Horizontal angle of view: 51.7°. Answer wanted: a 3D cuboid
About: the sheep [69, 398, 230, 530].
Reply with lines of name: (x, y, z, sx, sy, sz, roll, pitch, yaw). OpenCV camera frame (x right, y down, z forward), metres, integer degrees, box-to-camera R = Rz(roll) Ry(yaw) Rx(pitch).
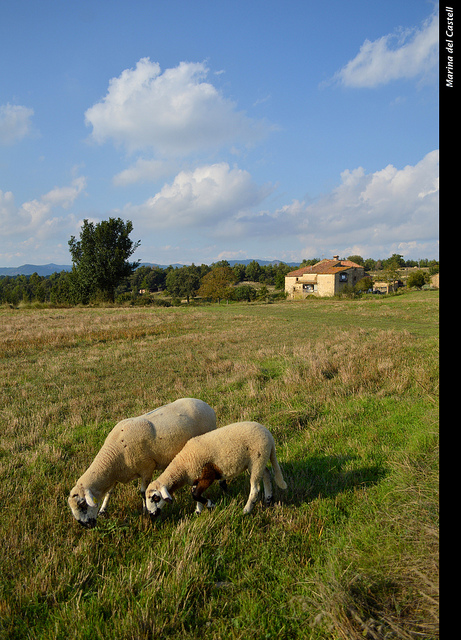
sheep: (-0.807, 1.387, 4.705, 1.550, 1.117, 0.533, -13, 17, -34)
